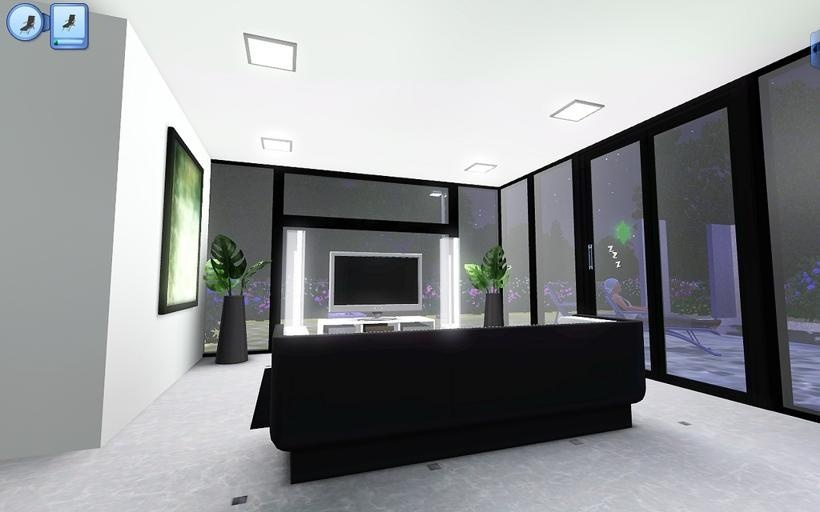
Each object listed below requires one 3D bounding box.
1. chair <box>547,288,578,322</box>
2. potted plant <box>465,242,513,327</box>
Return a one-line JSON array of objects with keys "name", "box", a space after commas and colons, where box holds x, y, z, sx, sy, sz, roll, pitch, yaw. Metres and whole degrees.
[{"name": "chair", "box": [2.328, 0.754, 7.432, 0.431, 0.656, 0.666, 3, 14, 16]}, {"name": "potted plant", "box": [1.223, 0.456, 7.646, 0.683, 1.227, 0.984, 2, 14, 11]}]
